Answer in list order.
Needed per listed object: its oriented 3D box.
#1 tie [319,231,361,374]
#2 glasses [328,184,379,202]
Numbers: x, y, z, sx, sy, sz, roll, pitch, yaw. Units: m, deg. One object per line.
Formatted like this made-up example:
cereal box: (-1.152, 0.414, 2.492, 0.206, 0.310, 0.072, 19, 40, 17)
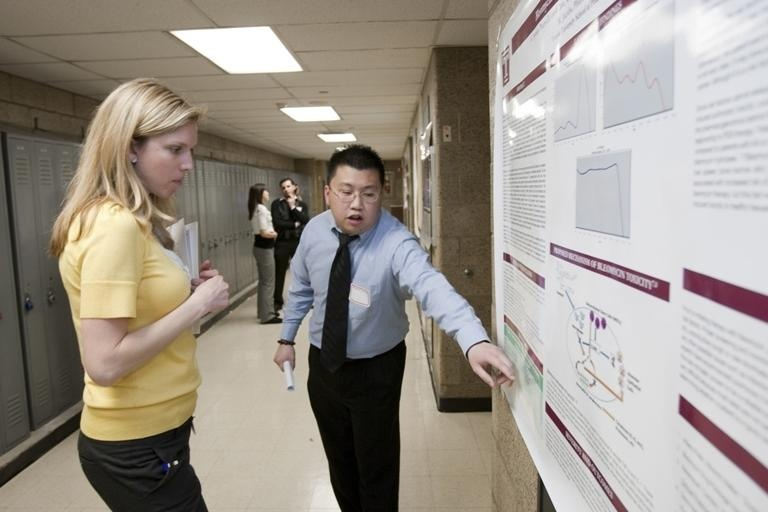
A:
tie: (-0.201, 0.197, 2.041, 0.124, 0.590, 0.134, 4, 8, 40)
glasses: (-0.128, -0.256, 1.988, 0.214, 0.063, 0.106, -1, 7, 2)
